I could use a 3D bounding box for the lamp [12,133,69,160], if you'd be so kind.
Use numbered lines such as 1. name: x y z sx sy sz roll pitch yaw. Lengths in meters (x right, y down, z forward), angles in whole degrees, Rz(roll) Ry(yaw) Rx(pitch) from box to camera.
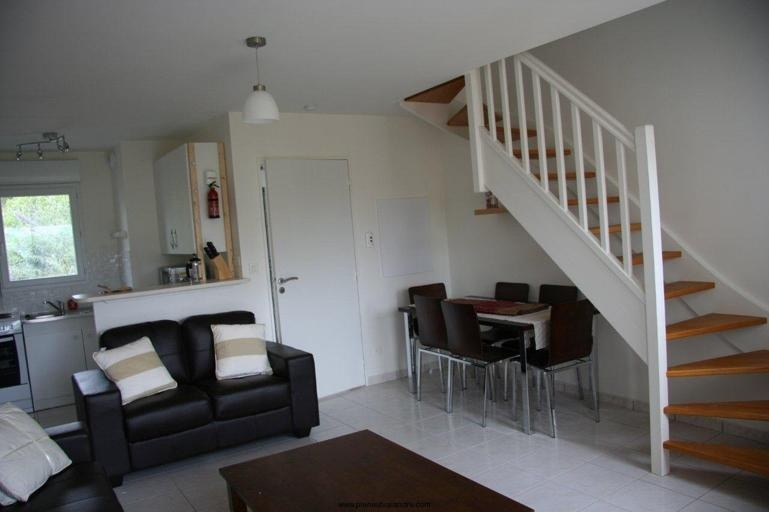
1. lamp: -4.092 -1.306 6.747 0.553 0.273 1.111 -13 14 -31

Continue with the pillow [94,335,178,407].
1. pillow: -2.339 1.076 5.363 0.607 0.458 0.569 -13 15 -32

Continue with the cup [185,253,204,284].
1. cup: -2.099 0.135 6.281 0.186 0.305 0.489 -10 13 -19

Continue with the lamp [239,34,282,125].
1. lamp: -1.129 -1.535 5.038 0.289 0.677 0.665 -7 13 -6

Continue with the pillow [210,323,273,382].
1. pillow: -1.474 0.955 5.864 0.748 0.664 0.189 21 -33 -33

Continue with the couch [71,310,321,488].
1. couch: -1.917 1.318 5.697 2.174 1.262 1.153 -4 7 -37

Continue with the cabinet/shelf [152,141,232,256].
1. cabinet/shelf: -2.186 -0.666 6.509 0.572 1.309 1.462 -3 3 -27

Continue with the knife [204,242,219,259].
1. knife: -1.925 -0.076 6.305 0.058 0.170 0.075 -35 8 19

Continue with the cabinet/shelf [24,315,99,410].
1. cabinet/shelf: -3.883 1.239 7.092 0.913 1.148 0.687 -6 8 -12

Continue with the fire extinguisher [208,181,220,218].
1. fire extinguisher: -1.920 -0.620 6.347 0.110 0.403 0.142 0 14 22
